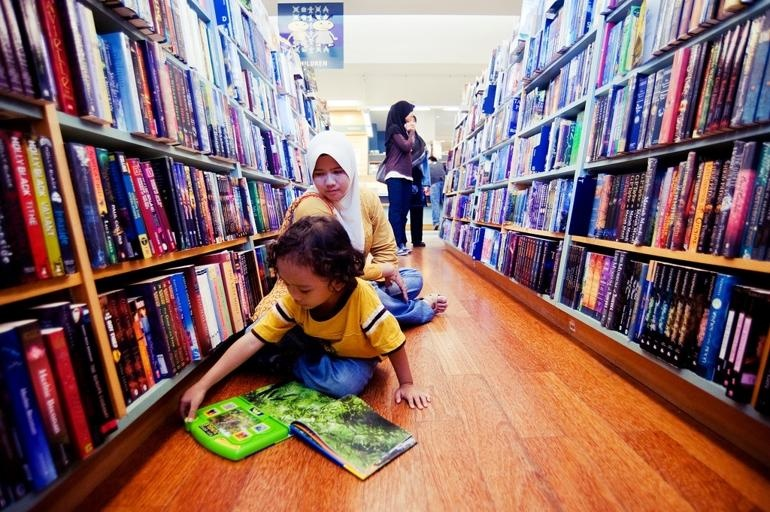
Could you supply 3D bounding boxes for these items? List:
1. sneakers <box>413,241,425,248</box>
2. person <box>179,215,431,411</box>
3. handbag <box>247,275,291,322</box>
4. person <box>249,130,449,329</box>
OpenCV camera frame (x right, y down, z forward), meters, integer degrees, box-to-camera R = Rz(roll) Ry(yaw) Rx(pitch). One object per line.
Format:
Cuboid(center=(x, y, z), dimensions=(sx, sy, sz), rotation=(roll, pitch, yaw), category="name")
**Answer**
Cuboid(center=(0.378, -0.135, 5.137), dimensions=(0.147, 0.109, 0.054), rotation=(-4, 32, -8), category="sneakers")
Cuboid(center=(-0.196, 0.218, 1.652), dimensions=(0.746, 0.576, 0.709), rotation=(12, 23, 27), category="person")
Cuboid(center=(-0.447, 0.171, 1.833), dimensions=(0.165, 0.040, 0.170), rotation=(-45, 3, -23), category="handbag")
Cuboid(center=(-0.176, -0.104, 2.073), dimensions=(0.821, 0.837, 0.548), rotation=(-10, 29, -17), category="person")
